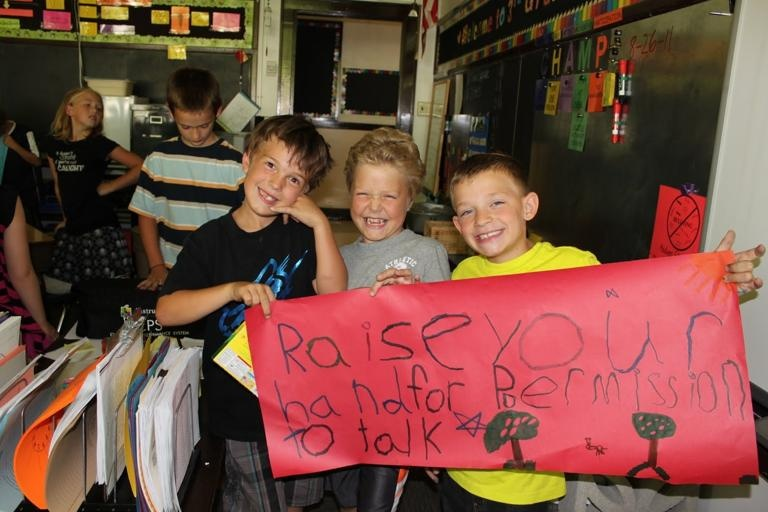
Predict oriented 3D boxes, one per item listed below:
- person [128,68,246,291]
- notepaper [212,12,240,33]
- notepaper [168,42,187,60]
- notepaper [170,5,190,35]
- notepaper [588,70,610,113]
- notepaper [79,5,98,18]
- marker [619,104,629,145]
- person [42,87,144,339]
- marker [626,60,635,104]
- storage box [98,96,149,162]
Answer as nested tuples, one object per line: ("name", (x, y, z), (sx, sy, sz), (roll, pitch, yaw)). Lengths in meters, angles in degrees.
("person", (-1.044, -0.097, 2.987), (0.715, 1.611, 0.484), (-3, 26, -20))
("notepaper", (-1.550, -2.155, 5.225), (0.178, 0.128, 0.025), (1, 8, -7))
("notepaper", (-2.027, -1.878, 5.256), (0.187, 0.128, 0.029), (-3, 15, -9))
("notepaper", (-1.986, -2.174, 5.204), (0.217, 0.303, 0.033), (8, 9, -11))
("notepaper", (0.936, -0.674, 2.338), (0.022, 0.217, 0.165), (2, 11, -15))
("notepaper", (-2.840, -2.210, 5.150), (0.125, 0.115, 0.030), (3, 12, -4))
("marker", (0.980, -0.510, 2.204), (0.027, 0.138, 0.034), (13, 16, 30))
("person", (-1.986, -0.290, 3.677), (0.607, 1.862, 0.635), (-1, 17, -13))
("marker", (0.986, -0.661, 2.178), (0.041, 0.161, 0.027), (8, 18, 32))
("storage box", (-2.456, -1.185, 5.198), (0.400, 0.636, 0.424), (-2, 18, -13))
